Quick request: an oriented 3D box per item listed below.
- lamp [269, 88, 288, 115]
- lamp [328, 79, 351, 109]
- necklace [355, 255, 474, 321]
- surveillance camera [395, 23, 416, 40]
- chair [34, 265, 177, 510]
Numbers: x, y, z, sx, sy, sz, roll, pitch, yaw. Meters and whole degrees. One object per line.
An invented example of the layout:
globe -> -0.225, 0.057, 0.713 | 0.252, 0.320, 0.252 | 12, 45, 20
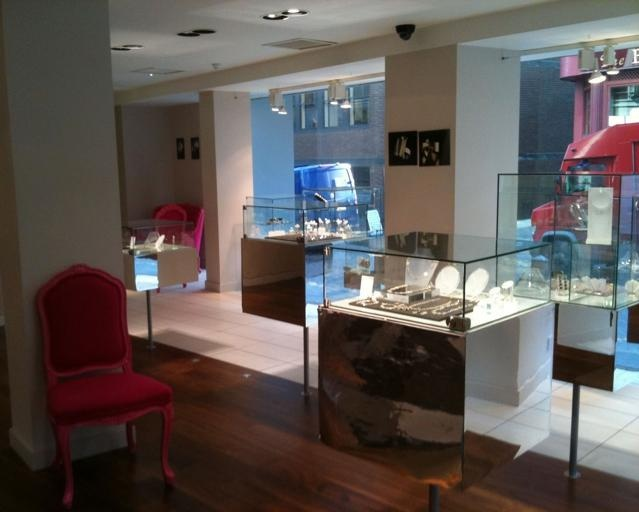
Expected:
lamp -> -0.623, -2.266, 8.079 | 0.211, 0.349, 0.741 | -1, 10, -4
lamp -> 0.271, -2.156, 7.228 | 0.351, 0.397, 0.233 | -3, 11, -24
necklace -> 0.499, 0.182, 2.669 | 0.285, 0.137, 0.401 | 8, 15, 35
surveillance camera -> 0.828, -2.171, 5.336 | 0.241, 0.126, 0.210 | 6, 11, 32
chair -> -1.322, 0.724, 3.427 | 0.717, 1.298, 0.727 | -6, 11, -29
